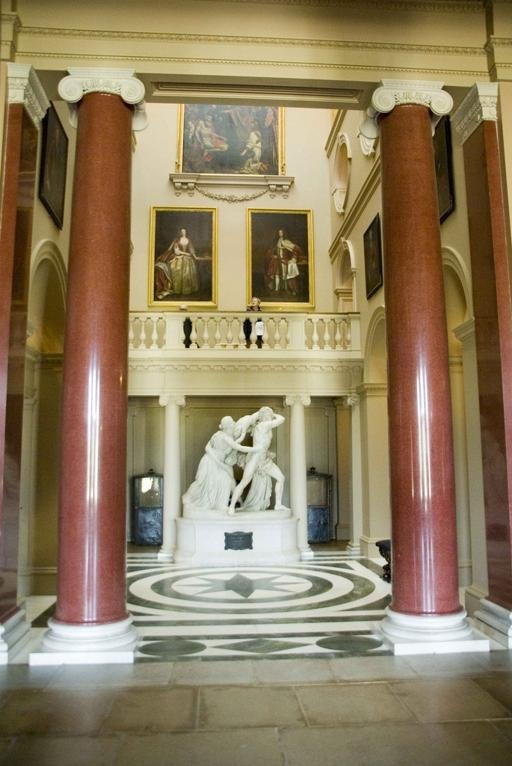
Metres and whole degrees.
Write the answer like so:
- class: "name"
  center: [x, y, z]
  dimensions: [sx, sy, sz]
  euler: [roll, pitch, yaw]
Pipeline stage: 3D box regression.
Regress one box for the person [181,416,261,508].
- class: "person"
  center: [-0.651, 1.340, 9.926]
  dimensions: [1.143, 1.542, 0.596]
  euler: [-1, -8, 3]
